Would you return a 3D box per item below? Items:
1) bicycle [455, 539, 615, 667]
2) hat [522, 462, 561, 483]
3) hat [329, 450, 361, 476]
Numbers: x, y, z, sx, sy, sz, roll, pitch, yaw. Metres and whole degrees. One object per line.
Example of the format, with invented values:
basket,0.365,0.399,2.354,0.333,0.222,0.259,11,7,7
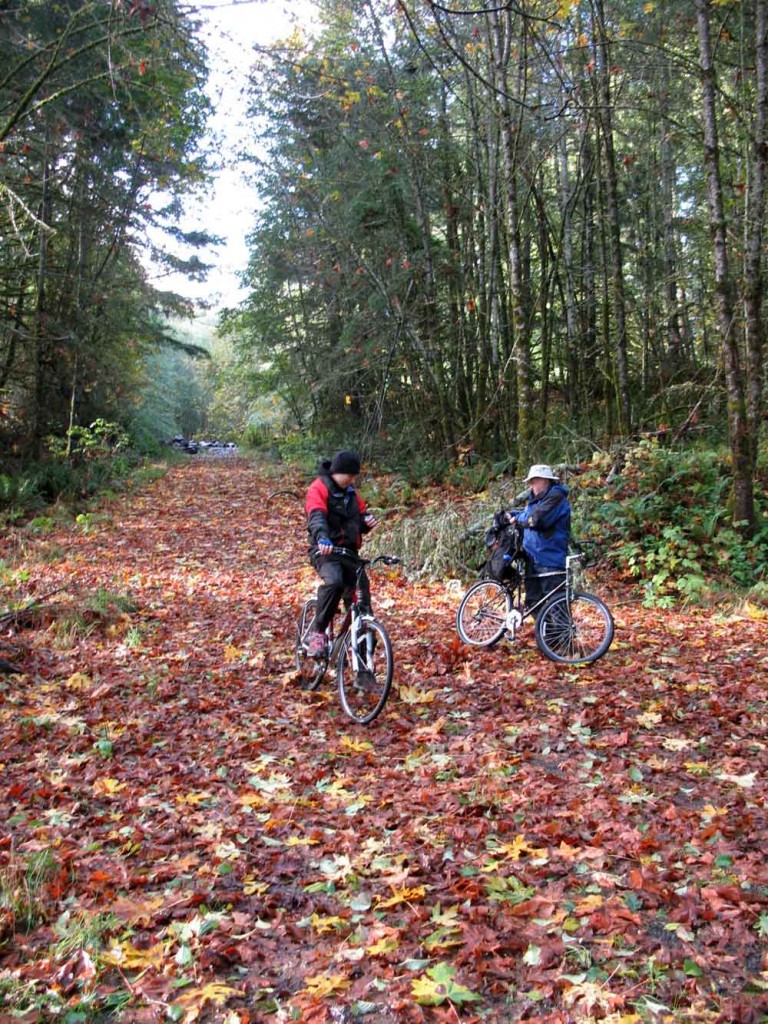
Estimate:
bicycle,1.337,0.893,6.940,0.672,0.868,1.466,26,-18,-36
hat,1.525,-0.375,8.287,0.344,0.189,0.362,-2,-14,7
hat,-0.268,-0.354,6.128,0.155,0.193,0.206,-2,15,-42
